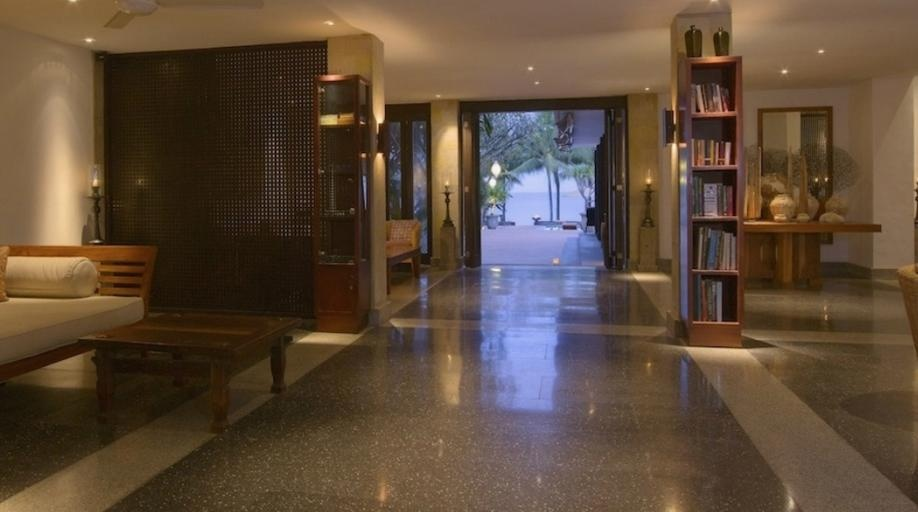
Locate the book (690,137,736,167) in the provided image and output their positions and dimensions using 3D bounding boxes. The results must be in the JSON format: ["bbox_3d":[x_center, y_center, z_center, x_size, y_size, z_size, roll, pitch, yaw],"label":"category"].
[{"bbox_3d":[3.181,-1.286,8.009,0.631,0.408,0.329,2,6,9],"label":"book"}]

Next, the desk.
[{"bbox_3d":[6.129,-0.056,11.326,1.867,0.823,1.822,1,4,23],"label":"desk"}]

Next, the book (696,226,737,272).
[{"bbox_3d":[3.231,-0.070,8.030,0.538,0.657,0.512,1,1,15],"label":"book"}]

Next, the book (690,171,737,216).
[{"bbox_3d":[3.192,-0.761,8.146,0.653,0.575,0.468,0,0,25],"label":"book"}]

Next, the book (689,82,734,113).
[{"bbox_3d":[3.168,-1.989,7.992,0.509,0.384,0.238,-1,5,-17],"label":"book"}]

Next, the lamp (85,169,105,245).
[{"bbox_3d":[-5.329,-0.763,9.398,0.212,1.147,0.367,-2,5,-25],"label":"lamp"}]

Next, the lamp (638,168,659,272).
[{"bbox_3d":[3.881,-0.704,13.057,0.388,2.044,0.249,2,5,14],"label":"lamp"}]

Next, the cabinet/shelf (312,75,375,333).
[{"bbox_3d":[-1.595,-0.755,9.097,1.068,3.518,0.939,1,3,-4],"label":"cabinet/shelf"}]

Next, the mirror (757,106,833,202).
[{"bbox_3d":[6.581,-1.994,12.455,1.380,1.866,0.191,1,5,6],"label":"mirror"}]

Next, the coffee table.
[{"bbox_3d":[-2.786,1.027,6.685,1.487,0.655,1.433,3,7,12],"label":"coffee table"}]

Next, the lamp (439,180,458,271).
[{"bbox_3d":[-0.187,-0.639,13.728,0.412,1.844,0.332,1,5,0],"label":"lamp"}]
